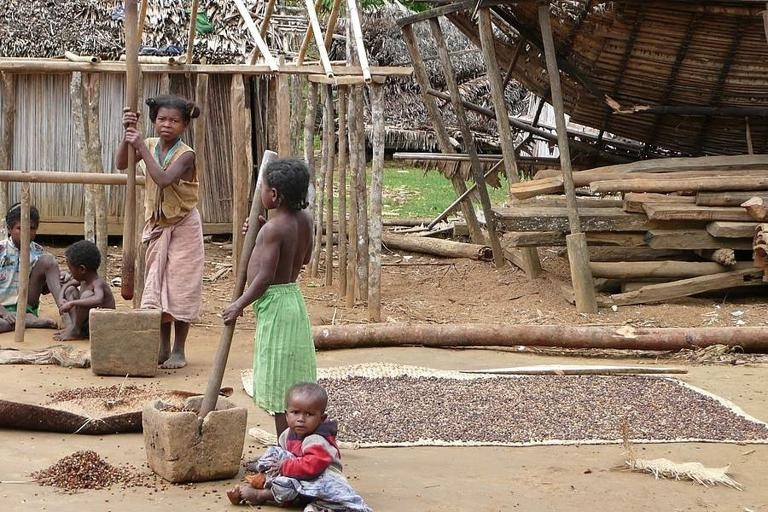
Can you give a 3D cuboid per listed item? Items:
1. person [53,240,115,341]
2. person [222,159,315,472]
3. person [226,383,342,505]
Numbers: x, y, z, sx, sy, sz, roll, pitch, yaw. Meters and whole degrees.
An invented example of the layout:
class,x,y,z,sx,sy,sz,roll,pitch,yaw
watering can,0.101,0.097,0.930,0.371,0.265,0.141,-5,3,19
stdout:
class,x,y,z,sx,sy,sz,roll,pitch,yaw
person,-3.254,0.383,10.820,0.743,0.996,0.686,-3,5,-45
person,-1.056,0.464,8.766,0.908,2.488,0.919,2,6,14
person,-0.729,1.550,8.061,0.945,1.026,1.032,3,7,-37
